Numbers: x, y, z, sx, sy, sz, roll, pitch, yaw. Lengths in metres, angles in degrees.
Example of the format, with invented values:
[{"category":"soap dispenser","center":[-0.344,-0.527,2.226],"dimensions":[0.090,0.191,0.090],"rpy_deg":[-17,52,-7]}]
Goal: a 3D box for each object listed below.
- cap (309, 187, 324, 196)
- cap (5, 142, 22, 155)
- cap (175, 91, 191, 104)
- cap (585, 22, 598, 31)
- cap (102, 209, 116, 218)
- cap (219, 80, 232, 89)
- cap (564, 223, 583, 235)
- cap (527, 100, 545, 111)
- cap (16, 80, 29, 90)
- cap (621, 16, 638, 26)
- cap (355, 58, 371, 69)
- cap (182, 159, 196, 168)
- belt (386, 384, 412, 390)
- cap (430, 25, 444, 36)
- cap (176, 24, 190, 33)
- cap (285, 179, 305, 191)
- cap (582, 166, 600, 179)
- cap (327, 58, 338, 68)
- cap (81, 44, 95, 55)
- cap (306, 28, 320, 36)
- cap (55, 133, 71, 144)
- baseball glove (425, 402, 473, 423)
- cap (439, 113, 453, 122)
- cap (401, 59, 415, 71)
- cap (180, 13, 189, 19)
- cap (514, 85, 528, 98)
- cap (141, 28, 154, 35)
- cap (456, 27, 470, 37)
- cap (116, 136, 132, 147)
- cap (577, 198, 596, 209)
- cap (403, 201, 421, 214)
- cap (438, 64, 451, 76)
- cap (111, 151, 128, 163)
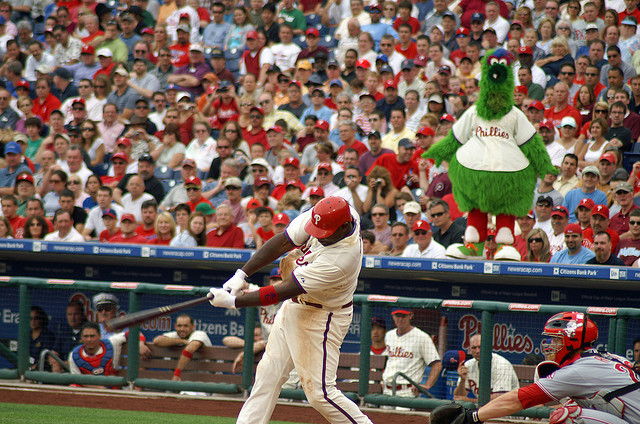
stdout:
[{"category":"cap","center":[-0.047,-0.360,32.467],"dimensions":[0.231,0.160,0.274],"rpy_deg":[-1,-5,4]},{"category":"cap","center":[-5.708,-1.208,34.713],"dimensions":[0.277,0.240,0.274],"rpy_deg":[1,-5,-10]},{"category":"cap","center":[-2.636,-2.280,35.817],"dimensions":[0.204,0.219,0.268],"rpy_deg":[-4,-44,-47]},{"category":"cap","center":[5.078,-3.503,34.745],"dimensions":[0.219,0.180,0.249],"rpy_deg":[-1,-5,9]},{"category":"cap","center":[-3.701,0.029,33.016],"dimensions":[0.187,0.146,0.310],"rpy_deg":[4,-5,2]},{"category":"cap","center":[-1.806,-2.473,35.854],"dimensions":[0.233,0.205,0.393],"rpy_deg":[0,-5,0]},{"category":"cap","center":[4.228,0.285,31.043],"dimensions":[0.277,0.180,0.286],"rpy_deg":[-1,-5,5]},{"category":"cap","center":[3.890,-1.931,33.386],"dimensions":[0.260,0.232,0.370],"rpy_deg":[-2,-5,18]},{"category":"cap","center":[-5.975,-2.587,37.622],"dimensions":[0.223,0.167,0.369],"rpy_deg":[2,-8,-5]},{"category":"cap","center":[5.791,-3.597,34.749],"dimensions":[0.264,0.215,0.437],"rpy_deg":[-2,-5,15]},{"category":"cap","center":[0.826,-2.849,35.411],"dimensions":[0.279,0.246,0.340],"rpy_deg":[0,-5,-6]},{"category":"cap","center":[-2.373,-0.899,33.903],"dimensions":[0.239,0.181,0.290],"rpy_deg":[0,-5,-5]},{"category":"belt","center":[1.289,2.866,30.353],"dimensions":[0.391,0.081,0.080],"rpy_deg":[0,-5,-9]},{"category":"cap","center":[2.281,-3.559,35.818],"dimensions":[0.157,0.264,0.128],"rpy_deg":[3,22,32]},{"category":"cap","center":[-2.726,-3.740,37.460],"dimensions":[0.291,0.198,0.212],"rpy_deg":[2,-5,-26]},{"category":"cap","center":[-0.438,-0.498,33.193],"dimensions":[0.345,0.237,0.454],"rpy_deg":[0,-5,-2]},{"category":"cap","center":[4.660,-0.698,31.958],"dimensions":[0.287,0.225,0.286],"rpy_deg":[-1,-5,8]},{"category":"cap","center":[0.249,-2.887,35.703],"dimensions":[0.191,0.192,0.311],"rpy_deg":[0,-5,-1]},{"category":"cap","center":[-4.684,-3.327,37.671],"dimensions":[0.263,0.279,0.452],"rpy_deg":[0,-5,-7]},{"category":"cap","center":[-0.135,-3.567,36.507],"dimensions":[0.246,0.214,0.358],"rpy_deg":[0,-5,0]},{"category":"cap","center":[-4.818,-1.411,34.987],"dimensions":[0.293,0.236,0.545],"rpy_deg":[0,-5,-3]},{"category":"baseball glove","center":[1.926,3.000,27.609],"dimensions":[0.439,0.203,0.330],"rpy_deg":[-7,-6,-4]},{"category":"cap","center":[2.250,-1.696,33.057],"dimensions":[0.228,0.165,0.246],"rpy_deg":[0,-5,0]},{"category":"cap","center":[1.653,-2.785,34.799],"dimensions":[0.246,0.230,0.357],"rpy_deg":[-1,-5,2]},{"category":"cap","center":[-2.756,-4.042,38.022],"dimensions":[0.183,0.161,0.226],"rpy_deg":[0,-5,-1]},{"category":"cap","center":[3.622,-2.185,33.525],"dimensions":[0.185,0.236,0.211],"rpy_deg":[14,-32,-5]},{"category":"cap","center":[-3.536,-3.719,38.144],"dimensions":[0.187,0.144,0.313],"rpy_deg":[0,-8,23]},{"category":"cap","center":[2.725,-3.456,35.390],"dimensions":[0.249,0.215,0.246],"rpy_deg":[-1,-5,4]},{"category":"cap","center":[-3.645,-1.338,34.773],"dimensions":[0.194,0.231,0.316],"rpy_deg":[-2,-5,15]},{"category":"cap","center":[4.531,-0.153,31.579],"dimensions":[0.307,0.202,0.215],"rpy_deg":[-1,-5,13]},{"category":"cap","center":[1.584,-0.077,31.800],"dimensions":[0.289,0.213,0.180],"rpy_deg":[-1,-5,3]},{"category":"cap","center":[2.324,-2.673,34.620],"dimensions":[0.234,0.219,0.269],"rpy_deg":[-1,-5,3]},{"category":"cap","center":[-3.681,-1.039,34.474],"dimensions":[0.298,0.211,0.300],"rpy_deg":[1,-5,-16]}]
